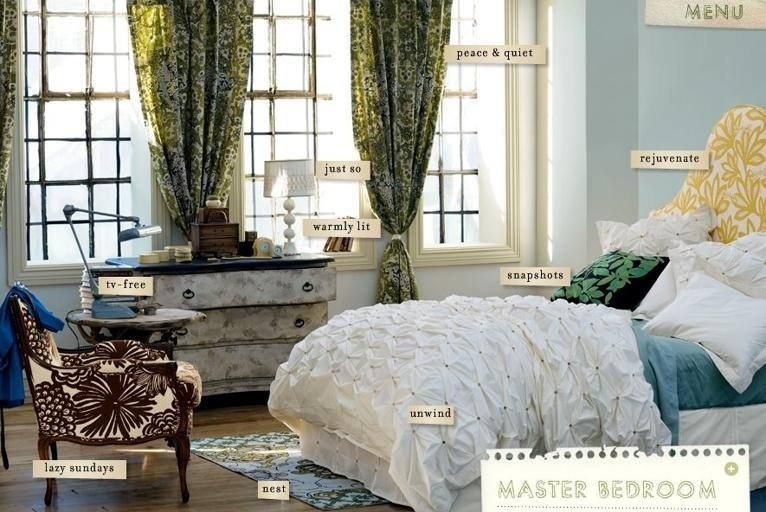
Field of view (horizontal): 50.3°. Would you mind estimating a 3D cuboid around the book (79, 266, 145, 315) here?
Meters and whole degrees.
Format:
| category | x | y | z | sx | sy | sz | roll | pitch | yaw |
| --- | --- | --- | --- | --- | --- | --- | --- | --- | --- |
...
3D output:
| category | x | y | z | sx | sy | sz | roll | pitch | yaw |
| --- | --- | --- | --- | --- | --- | --- | --- | --- | --- |
| book | -1.946 | 0.251 | 5.737 | 0.440 | 0.324 | 0.419 | -2 | 9 | -2 |
